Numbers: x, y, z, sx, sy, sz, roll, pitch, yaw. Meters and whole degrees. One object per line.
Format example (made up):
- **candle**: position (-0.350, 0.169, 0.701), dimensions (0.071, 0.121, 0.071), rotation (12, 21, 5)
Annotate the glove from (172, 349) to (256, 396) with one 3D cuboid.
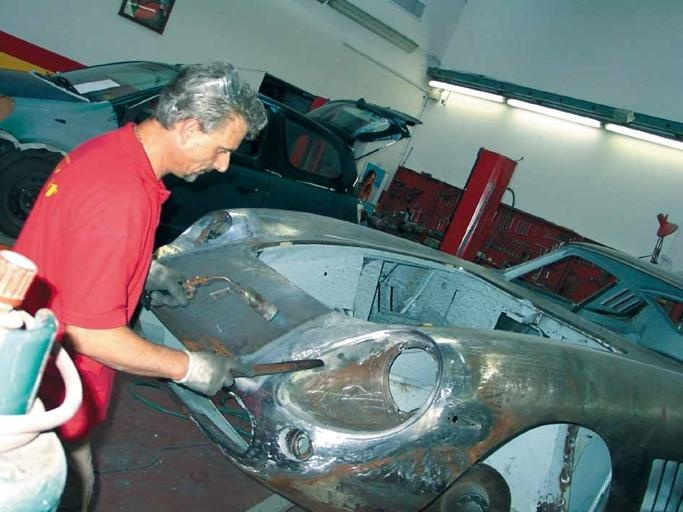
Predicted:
- **glove**: position (-0.430, 0.398, 1.671), dimensions (0.280, 0.088, 0.094), rotation (20, 40, -50)
